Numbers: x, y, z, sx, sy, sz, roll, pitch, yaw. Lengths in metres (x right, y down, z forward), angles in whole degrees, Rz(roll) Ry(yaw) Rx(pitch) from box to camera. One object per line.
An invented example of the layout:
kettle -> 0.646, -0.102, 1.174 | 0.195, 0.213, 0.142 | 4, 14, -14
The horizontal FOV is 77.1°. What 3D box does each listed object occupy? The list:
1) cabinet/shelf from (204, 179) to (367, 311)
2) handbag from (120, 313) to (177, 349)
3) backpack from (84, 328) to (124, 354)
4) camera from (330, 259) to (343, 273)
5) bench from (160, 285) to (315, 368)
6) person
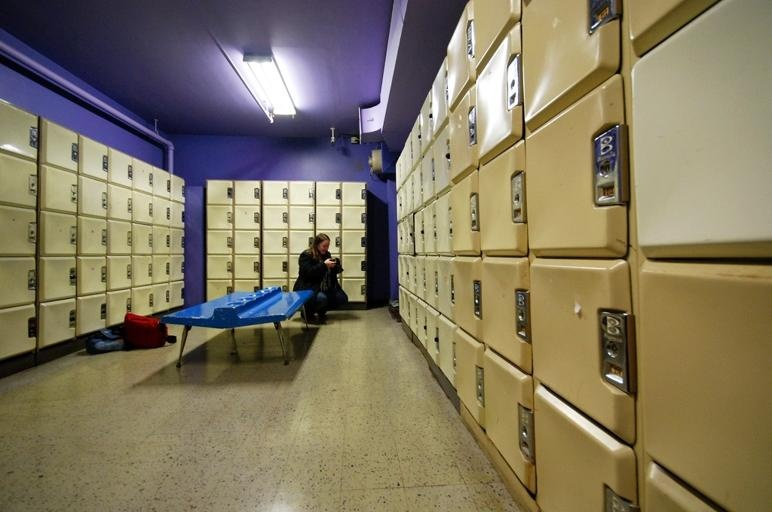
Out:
cabinet/shelf -> -1.392, -0.078, 6.826 | 2.066, 1.804, 0.717 | -1, -10, -10
handbag -> -2.260, 0.782, 4.846 | 0.616, 0.226, 0.468 | 5, -7, -3
backpack -> -2.651, 0.795, 4.544 | 0.254, 0.105, 0.215 | 3, 9, -14
camera -> -0.628, 0.129, 5.973 | 0.157, 0.180, 0.108 | 0, 36, 5
bench -> -1.296, 0.627, 4.456 | 1.023, 0.537, 1.428 | -1, 4, -2
person -> -0.797, 0.271, 5.942 | 0.605, 1.031, 0.588 | 0, -2, -41
